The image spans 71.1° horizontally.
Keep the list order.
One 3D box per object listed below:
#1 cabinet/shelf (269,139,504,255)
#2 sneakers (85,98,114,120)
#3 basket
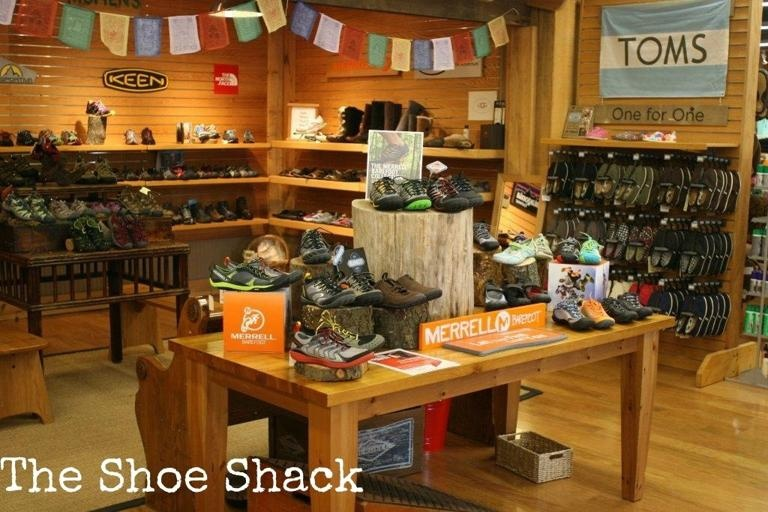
[{"bbox_3d":[-0.034,-1.154,8.377,4.181,1.192,0.883,-1,4,-21],"label":"cabinet/shelf"},{"bbox_3d":[-3.614,-1.823,6.751,0.197,0.239,0.374,-8,14,-42],"label":"sneakers"},{"bbox_3d":[0.995,1.316,3.570,0.320,0.133,0.398,-1,3,-32],"label":"basket"}]
